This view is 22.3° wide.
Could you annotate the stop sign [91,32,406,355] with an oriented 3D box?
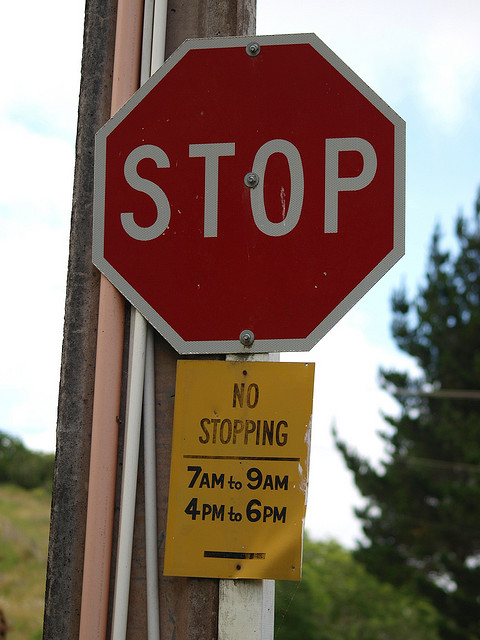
[{"bbox_3d":[0.011,-0.231,2.271,0.336,0.548,0.044,4,-3,6],"label":"stop sign"}]
